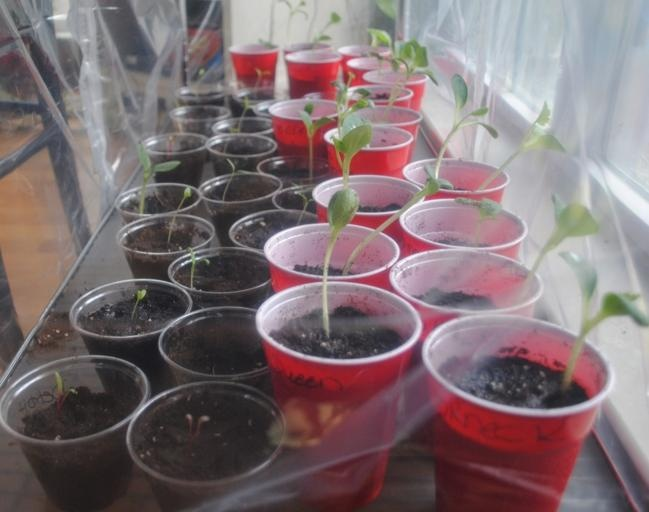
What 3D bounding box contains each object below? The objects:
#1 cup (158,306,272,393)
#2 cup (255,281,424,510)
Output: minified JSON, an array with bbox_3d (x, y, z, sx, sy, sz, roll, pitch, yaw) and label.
[{"bbox_3d":[-0.148,0.103,0.732,0.118,0.097,0.127,-1,34,1],"label":"cup"},{"bbox_3d":[0.011,0.172,0.776,0.237,0.278,0.249,-1,25,0],"label":"cup"}]
